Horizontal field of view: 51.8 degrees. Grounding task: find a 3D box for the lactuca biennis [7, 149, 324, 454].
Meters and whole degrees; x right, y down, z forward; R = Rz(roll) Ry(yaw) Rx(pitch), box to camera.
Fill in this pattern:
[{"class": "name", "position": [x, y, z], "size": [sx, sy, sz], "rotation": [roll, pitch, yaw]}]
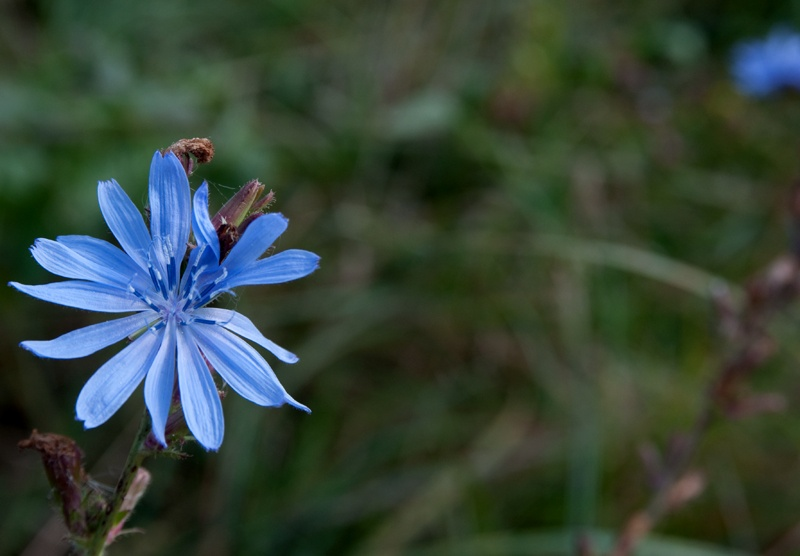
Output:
[{"class": "lactuca biennis", "position": [-0.788, 0.087, 2.729], "size": [0.932, 0.819, 0.542], "rotation": [10, -45, -13]}]
